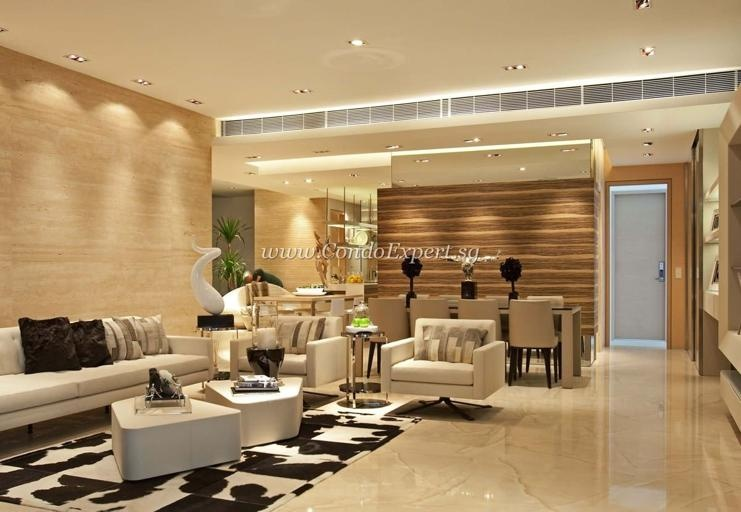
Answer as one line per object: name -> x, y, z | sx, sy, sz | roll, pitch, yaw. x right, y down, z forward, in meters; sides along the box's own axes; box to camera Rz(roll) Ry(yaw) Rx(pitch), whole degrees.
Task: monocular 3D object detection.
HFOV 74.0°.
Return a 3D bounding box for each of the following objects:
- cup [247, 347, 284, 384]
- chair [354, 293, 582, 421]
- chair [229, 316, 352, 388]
cup -> -1.073, 1.116, 5.021 | 0.409, 0.313, 0.354 | 1, -5, -5
chair -> 1.282, 1.115, 5.962 | 1.583, 0.666, 2.060 | -3, -5, 32
chair -> -0.910, 1.166, 5.853 | 1.491, 0.771, 0.963 | -3, -6, 22
